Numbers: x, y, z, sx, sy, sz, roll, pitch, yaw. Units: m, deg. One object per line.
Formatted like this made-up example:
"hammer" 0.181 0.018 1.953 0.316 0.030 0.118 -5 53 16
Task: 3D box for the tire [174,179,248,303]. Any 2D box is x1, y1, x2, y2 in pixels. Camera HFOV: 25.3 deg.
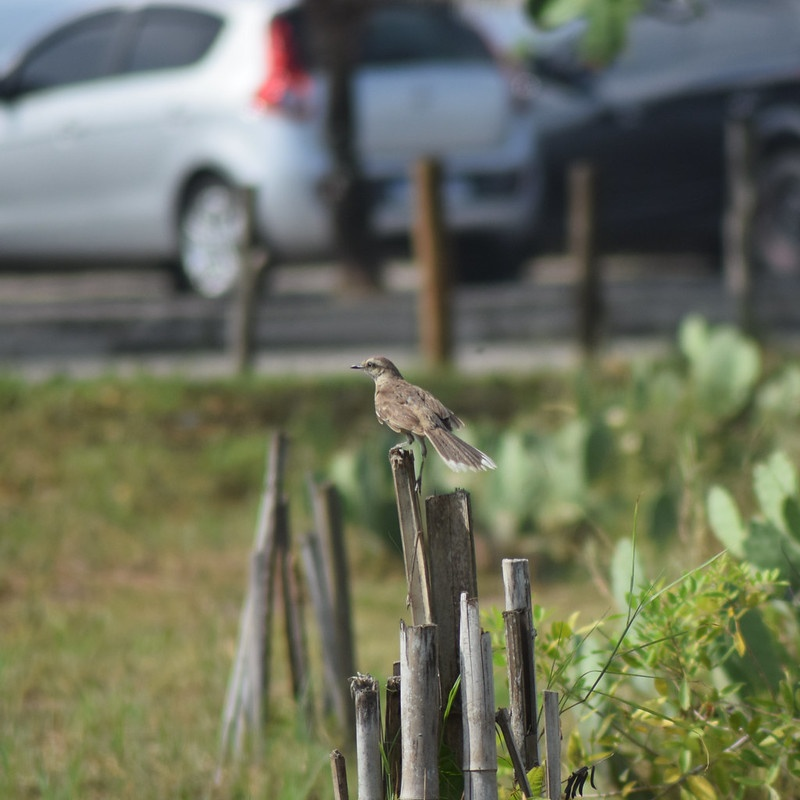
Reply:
"tire" -0.798 -0.723 7.778 0.313 0.562 0.119 -7 -17 42

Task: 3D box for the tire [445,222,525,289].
"tire" 0.393 -0.626 7.769 0.331 0.228 0.139 -3 6 4

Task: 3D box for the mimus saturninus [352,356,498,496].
"mimus saturninus" 0.080 0.078 6.240 0.175 0.455 0.559 -12 12 -38
